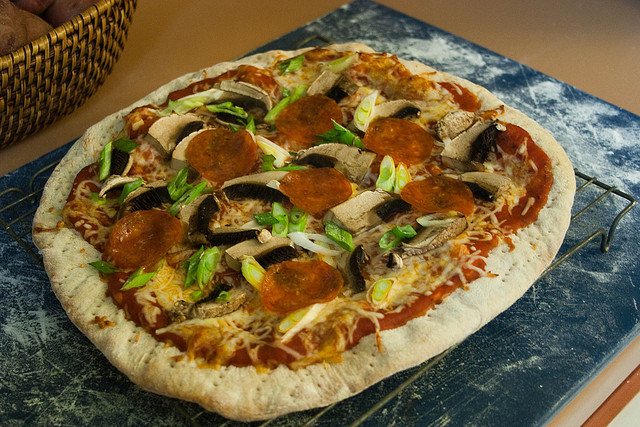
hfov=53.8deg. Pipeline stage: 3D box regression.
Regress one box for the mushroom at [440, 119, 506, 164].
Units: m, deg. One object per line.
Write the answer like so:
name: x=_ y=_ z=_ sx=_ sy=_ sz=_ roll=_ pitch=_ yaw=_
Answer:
mushroom: x=0.969 y=-0.452 z=4.002 sx=0.249 sy=0.080 sz=0.364 roll=35 pitch=80 yaw=20

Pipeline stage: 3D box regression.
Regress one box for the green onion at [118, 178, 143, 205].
green onion: x=-1.156 y=-0.146 z=3.864 sx=0.112 sy=0.038 sz=0.163 roll=26 pitch=67 yaw=8

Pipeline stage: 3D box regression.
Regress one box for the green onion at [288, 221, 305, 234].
green onion: x=-0.139 y=0.085 z=3.730 sx=0.094 sy=0.027 sz=0.069 roll=6 pitch=69 yaw=-8

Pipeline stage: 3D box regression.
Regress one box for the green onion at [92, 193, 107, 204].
green onion: x=-1.371 y=-0.094 z=3.909 sx=0.071 sy=0.021 sz=0.065 roll=4 pitch=38 yaw=-5

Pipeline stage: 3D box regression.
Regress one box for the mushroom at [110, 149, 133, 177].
mushroom: x=-1.245 y=-0.320 z=3.991 sx=0.132 sy=0.045 sz=0.164 roll=11 pitch=70 yaw=12

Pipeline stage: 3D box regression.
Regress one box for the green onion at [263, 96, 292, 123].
green onion: x=-0.284 y=-0.697 z=4.271 sx=0.080 sy=0.074 sz=0.265 roll=53 pitch=56 yaw=-18

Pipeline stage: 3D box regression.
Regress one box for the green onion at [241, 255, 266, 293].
green onion: x=-0.368 y=0.329 z=3.541 sx=0.116 sy=0.053 sz=0.224 roll=-38 pitch=80 yaw=-20

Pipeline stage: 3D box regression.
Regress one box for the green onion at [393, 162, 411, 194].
green onion: x=0.501 y=-0.215 z=3.879 sx=0.124 sy=0.037 sz=0.172 roll=-6 pitch=83 yaw=-17

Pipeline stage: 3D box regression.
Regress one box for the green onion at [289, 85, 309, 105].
green onion: x=-0.135 y=-0.819 z=4.304 sx=0.079 sy=0.049 sz=0.146 roll=37 pitch=80 yaw=12

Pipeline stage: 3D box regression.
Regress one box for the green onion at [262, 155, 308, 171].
green onion: x=-0.245 y=-0.310 z=3.945 sx=0.341 sy=0.094 sz=0.095 roll=15 pitch=92 yaw=39

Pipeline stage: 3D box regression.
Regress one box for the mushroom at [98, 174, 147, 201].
mushroom: x=-1.230 y=-0.183 z=3.934 sx=0.165 sy=0.093 sz=0.242 roll=20 pitch=39 yaw=26

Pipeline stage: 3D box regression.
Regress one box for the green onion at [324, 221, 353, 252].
green onion: x=0.110 y=0.129 z=3.647 sx=0.109 sy=0.054 sz=0.209 roll=-32 pitch=66 yaw=-34

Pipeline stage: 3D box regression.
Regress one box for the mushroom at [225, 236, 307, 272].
mushroom: x=-0.331 y=0.205 z=3.577 sx=0.351 sy=0.098 sz=0.207 roll=-20 pitch=44 yaw=-30

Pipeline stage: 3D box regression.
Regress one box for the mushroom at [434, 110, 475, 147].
mushroom: x=0.862 y=-0.573 z=4.090 sx=0.175 sy=0.067 sz=0.290 roll=42 pitch=62 yaw=16

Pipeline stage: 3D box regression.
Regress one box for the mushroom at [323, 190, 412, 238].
mushroom: x=0.306 y=-0.043 z=3.830 sx=0.508 sy=0.131 sz=0.287 roll=-31 pitch=37 yaw=-29

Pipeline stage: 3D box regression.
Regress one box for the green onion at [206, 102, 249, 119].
green onion: x=-0.606 y=-0.684 z=4.188 sx=0.184 sy=0.047 sz=0.051 roll=21 pitch=51 yaw=-3

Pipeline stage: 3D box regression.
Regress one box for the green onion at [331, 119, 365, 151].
green onion: x=0.190 y=-0.490 z=4.006 sx=0.273 sy=0.040 sz=0.106 roll=39 pitch=77 yaw=8

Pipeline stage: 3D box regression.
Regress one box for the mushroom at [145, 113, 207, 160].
mushroom: x=-0.925 y=-0.534 z=4.052 sx=0.338 sy=0.111 sz=0.301 roll=-33 pitch=65 yaw=-28

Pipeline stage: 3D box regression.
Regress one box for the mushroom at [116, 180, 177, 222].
mushroom: x=-1.066 y=-0.074 z=3.862 sx=0.296 sy=0.245 sz=0.087 roll=-33 pitch=109 yaw=-15

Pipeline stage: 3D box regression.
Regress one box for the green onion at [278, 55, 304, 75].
green onion: x=-0.204 y=-1.052 z=4.455 sx=0.174 sy=0.040 sz=0.092 roll=-30 pitch=52 yaw=-22

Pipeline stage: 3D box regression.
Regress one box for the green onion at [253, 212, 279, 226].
green onion: x=-0.314 y=0.037 z=3.732 sx=0.138 sy=0.055 sz=0.075 roll=-4 pitch=71 yaw=-12

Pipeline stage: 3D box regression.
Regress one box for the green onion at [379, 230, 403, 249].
green onion: x=0.400 y=0.161 z=3.653 sx=0.092 sy=0.033 sz=0.120 roll=43 pitch=69 yaw=7

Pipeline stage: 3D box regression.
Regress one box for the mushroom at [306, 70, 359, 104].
mushroom: x=0.074 y=-0.862 z=4.248 sx=0.247 sy=0.066 sz=0.238 roll=39 pitch=86 yaw=7

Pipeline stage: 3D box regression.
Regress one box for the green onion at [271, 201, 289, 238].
green onion: x=-0.237 y=0.045 z=3.737 sx=0.114 sy=0.033 sz=0.294 roll=5 pitch=47 yaw=-17

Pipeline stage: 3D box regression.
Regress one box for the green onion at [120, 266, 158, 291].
green onion: x=-1.021 y=0.376 z=3.554 sx=0.086 sy=0.015 sz=0.202 roll=39 pitch=64 yaw=23

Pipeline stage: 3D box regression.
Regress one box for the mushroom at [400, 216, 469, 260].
mushroom: x=0.653 y=0.134 z=3.650 sx=0.448 sy=0.115 sz=0.149 roll=-24 pitch=76 yaw=-18

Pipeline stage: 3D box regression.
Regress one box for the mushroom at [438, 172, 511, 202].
mushroom: x=0.978 y=-0.192 z=3.824 sx=0.293 sy=0.102 sz=0.165 roll=20 pitch=35 yaw=27

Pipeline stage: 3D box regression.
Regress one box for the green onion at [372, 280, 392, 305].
green onion: x=0.336 y=0.438 z=3.496 sx=0.082 sy=0.032 sz=0.133 roll=26 pitch=64 yaw=10
